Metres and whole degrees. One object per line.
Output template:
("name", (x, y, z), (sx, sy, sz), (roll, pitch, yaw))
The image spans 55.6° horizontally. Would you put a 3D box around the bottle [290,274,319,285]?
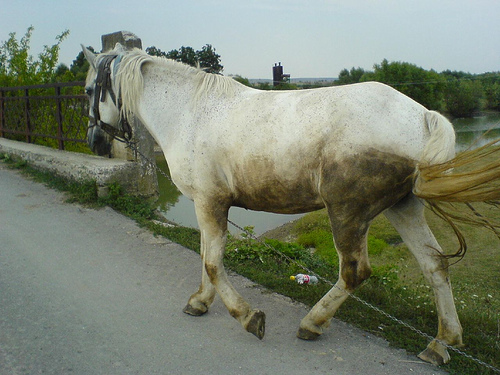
("bottle", (0.782, 1.249, 6.515), (0.246, 0.097, 0.164), (0, -3, -10))
